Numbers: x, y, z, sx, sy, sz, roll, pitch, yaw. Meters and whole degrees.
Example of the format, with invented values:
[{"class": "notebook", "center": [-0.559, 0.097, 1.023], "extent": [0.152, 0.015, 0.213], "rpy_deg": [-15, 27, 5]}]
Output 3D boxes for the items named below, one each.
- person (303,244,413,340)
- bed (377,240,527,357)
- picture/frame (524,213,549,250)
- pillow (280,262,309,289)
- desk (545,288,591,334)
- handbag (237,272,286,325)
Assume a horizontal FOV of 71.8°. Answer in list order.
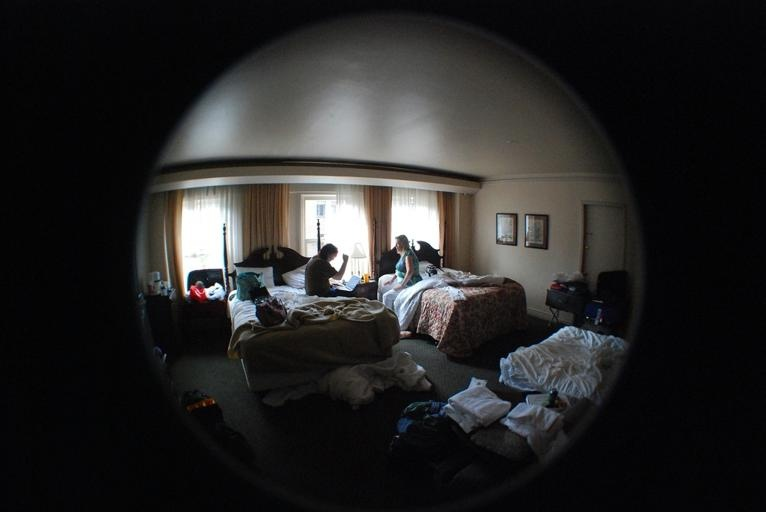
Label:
[{"class": "person", "center": [-0.277, 0.188, 3.262], "extent": [0.814, 0.559, 0.474], "rpy_deg": [-1, 0, 32]}, {"class": "bed", "center": [0.374, 0.210, 3.427], "extent": [0.591, 0.355, 0.842], "rpy_deg": [-9, 10, -32]}, {"class": "picture/frame", "center": [0.765, -0.123, 2.642], "extent": [0.118, 0.172, 0.012], "rpy_deg": [7, 15, 42]}, {"class": "pillow", "center": [-0.660, 0.161, 3.954], "extent": [0.184, 0.061, 0.196], "rpy_deg": [-14, 40, -20]}, {"class": "desk", "center": [1.084, 0.314, 3.024], "extent": [0.197, 0.273, 0.284], "rpy_deg": [-16, 17, -41]}, {"class": "handbag", "center": [-0.673, 0.241, 2.900], "extent": [0.193, 0.208, 0.749], "rpy_deg": [-5, 11, -15]}]
